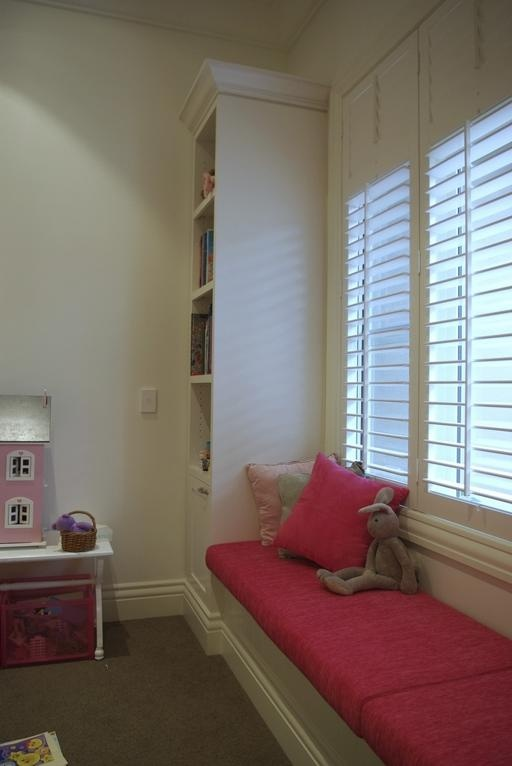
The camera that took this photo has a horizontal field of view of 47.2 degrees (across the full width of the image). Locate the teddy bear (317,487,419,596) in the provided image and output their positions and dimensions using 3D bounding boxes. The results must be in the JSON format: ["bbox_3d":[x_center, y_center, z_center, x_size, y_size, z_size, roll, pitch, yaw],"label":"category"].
[{"bbox_3d":[0.324,0.437,1.696,0.248,0.322,0.166,3,-8,-2],"label":"teddy bear"}]

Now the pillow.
[{"bbox_3d":[0.208,0.414,1.838,0.364,0.404,0.114,3,-18,47],"label":"pillow"}]

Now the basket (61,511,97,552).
[{"bbox_3d":[-0.685,0.569,2.294,0.161,0.175,0.119,1,-3,-17],"label":"basket"}]
